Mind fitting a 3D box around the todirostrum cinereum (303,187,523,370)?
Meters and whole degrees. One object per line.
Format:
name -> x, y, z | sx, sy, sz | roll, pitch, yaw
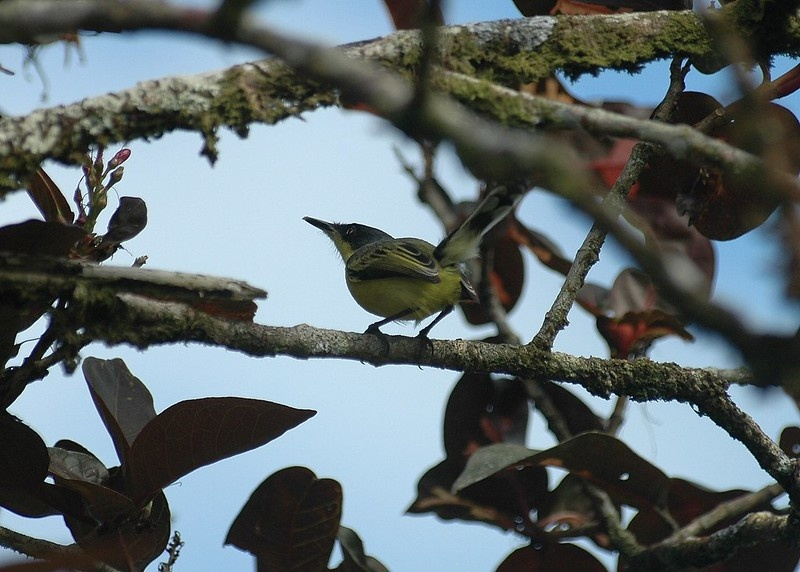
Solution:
todirostrum cinereum -> 0.053, -0.087, 5.928 | 1.029, 0.624, 0.336 | -18, -22, 39
